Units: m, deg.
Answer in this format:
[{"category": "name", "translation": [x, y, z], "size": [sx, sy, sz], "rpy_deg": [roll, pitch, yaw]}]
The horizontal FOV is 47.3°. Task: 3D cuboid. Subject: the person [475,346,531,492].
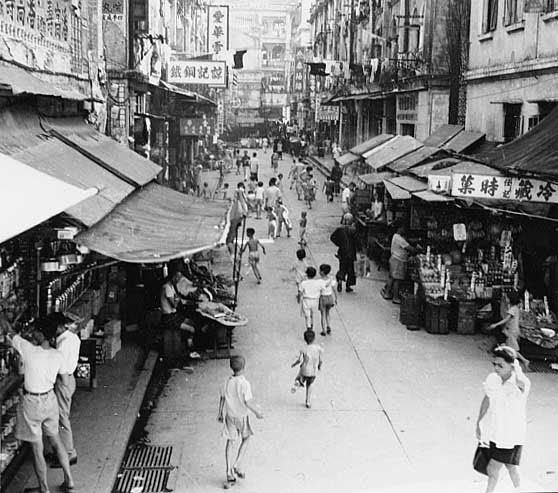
[{"category": "person", "translation": [2.407, 1.947, 6.896], "size": [0.508, 1.905, 0.671], "rpy_deg": [4, 9, 22]}]
